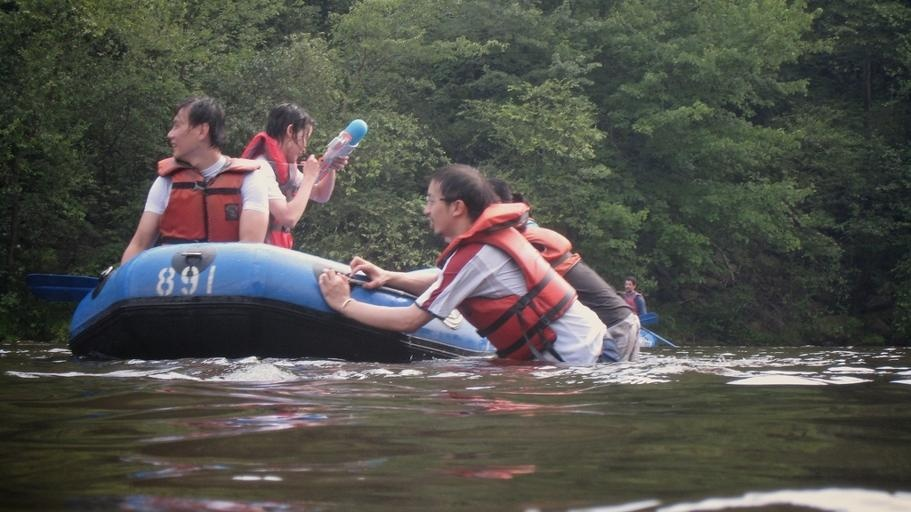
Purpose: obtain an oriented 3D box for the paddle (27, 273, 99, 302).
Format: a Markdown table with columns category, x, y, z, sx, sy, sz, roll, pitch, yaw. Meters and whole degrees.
| category | x | y | z | sx | sy | sz | roll | pitch | yaw |
| --- | --- | --- | --- | --- | --- | --- | --- | --- | --- |
| paddle | -9.490 | 0.723 | 23.337 | 2.731 | 0.499 | 0.576 | 1 | 7 | -11 |
